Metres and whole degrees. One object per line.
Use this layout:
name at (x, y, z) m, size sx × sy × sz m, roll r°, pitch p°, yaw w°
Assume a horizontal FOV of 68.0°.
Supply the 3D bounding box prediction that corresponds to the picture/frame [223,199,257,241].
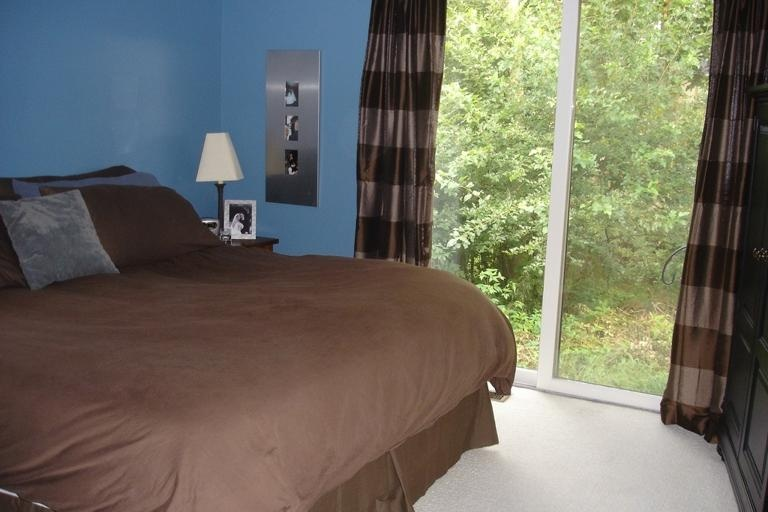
picture/frame at (-1.148, -0.296, 4.553) m, size 0.241 × 0.333 × 0.020 m, roll 1°, pitch -21°, yaw -17°

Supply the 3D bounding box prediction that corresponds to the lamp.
lamp at (-1.293, -0.554, 4.517) m, size 0.380 × 0.852 × 0.412 m, roll 22°, pitch 29°, yaw 36°
